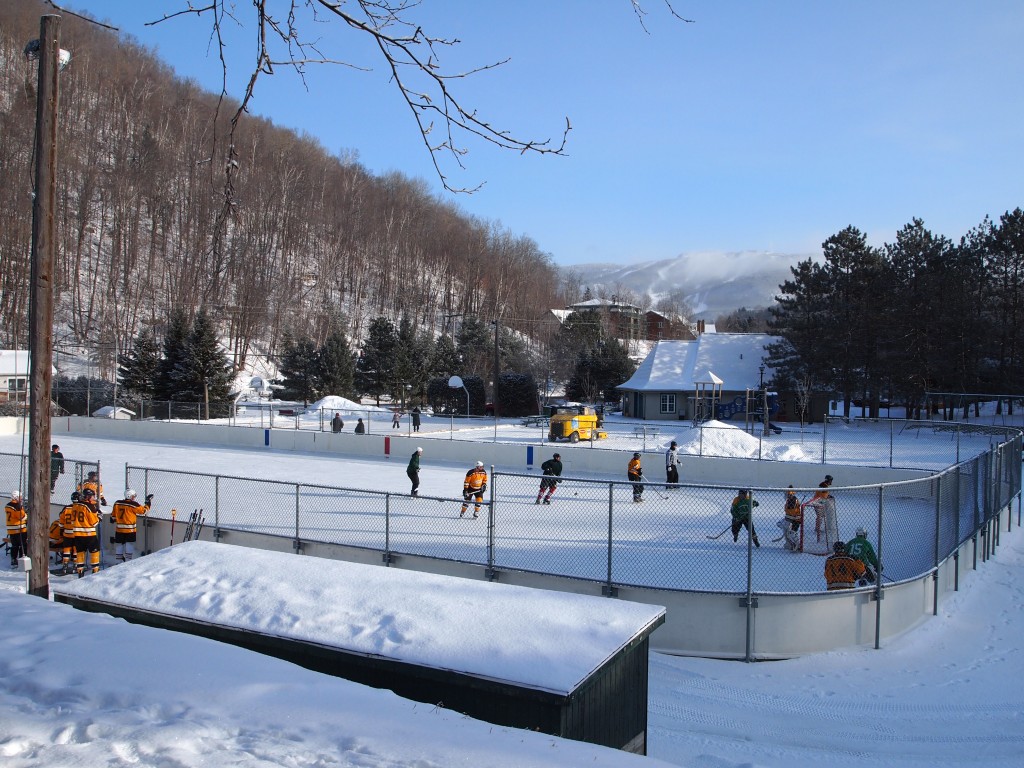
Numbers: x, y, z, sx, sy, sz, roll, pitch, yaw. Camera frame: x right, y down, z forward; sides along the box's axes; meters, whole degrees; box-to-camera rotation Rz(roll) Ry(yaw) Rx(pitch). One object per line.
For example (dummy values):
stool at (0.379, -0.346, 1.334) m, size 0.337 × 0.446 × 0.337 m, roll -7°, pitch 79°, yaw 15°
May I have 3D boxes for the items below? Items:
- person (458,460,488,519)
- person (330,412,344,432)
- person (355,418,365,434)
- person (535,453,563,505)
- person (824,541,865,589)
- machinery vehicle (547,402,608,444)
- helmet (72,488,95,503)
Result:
person at (-1.170, 3.104, 35.532) m, size 1.035 × 0.887 × 2.504 m, roll 2°, pitch 32°, yaw 2°
person at (-8.748, 1.949, 60.870) m, size 0.625 × 1.532 × 0.548 m, roll 2°, pitch 12°, yaw 4°
person at (-7.434, 2.064, 59.408) m, size 0.454 × 0.830 × 0.435 m, roll 3°, pitch 13°, yaw -2°
person at (1.115, 2.865, 36.205) m, size 0.596 × 1.716 × 0.510 m, roll 16°, pitch -27°, yaw 2°
person at (7.890, 4.321, 28.938) m, size 0.757 × 1.157 × 0.771 m, roll 11°, pitch 26°, yaw 41°
machinery vehicle at (2.960, 1.867, 58.172) m, size 1.511 × 1.422 × 2.360 m, roll -3°, pitch -3°, yaw 37°
helmet at (-11.551, 3.017, 32.811) m, size 0.426 × 0.497 × 0.398 m, roll 10°, pitch -2°, yaw -1°
